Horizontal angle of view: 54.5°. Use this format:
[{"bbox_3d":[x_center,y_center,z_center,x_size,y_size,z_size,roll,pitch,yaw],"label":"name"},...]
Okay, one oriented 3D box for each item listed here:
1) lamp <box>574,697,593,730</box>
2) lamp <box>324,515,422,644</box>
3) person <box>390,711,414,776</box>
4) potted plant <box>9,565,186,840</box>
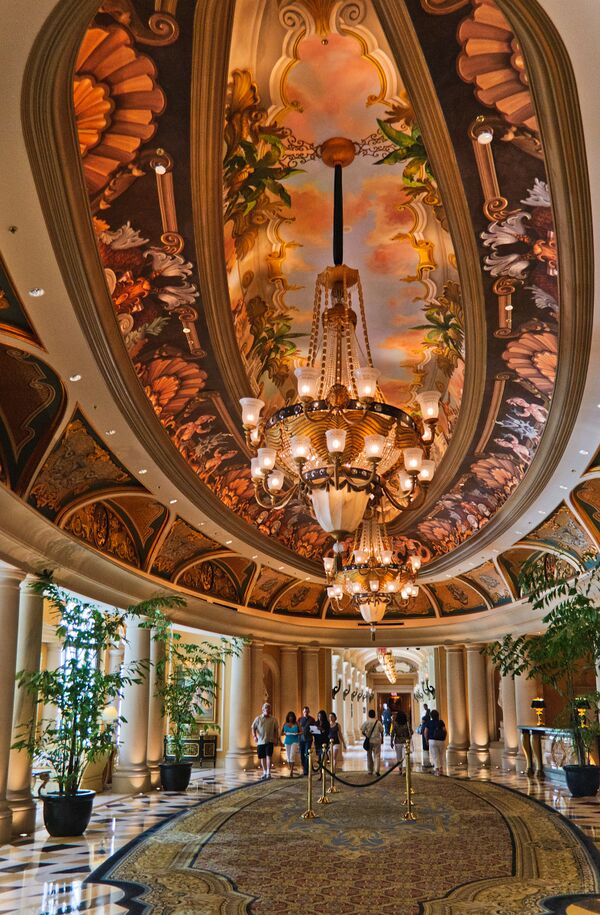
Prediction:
[{"bbox_3d":[5.276,4.694,10.793,0.284,0.555,2.173,-11,-23,23],"label":"lamp"},{"bbox_3d":[1.285,1.780,10.358,1.507,2.115,1.605,-2,-7,9],"label":"lamp"},{"bbox_3d":[2.538,6.996,14.598,0.505,1.474,0.421,-3,4,-7],"label":"person"},{"bbox_3d":[-3.189,3.403,8.199,1.572,3.283,1.847,-14,-28,26],"label":"potted plant"}]
